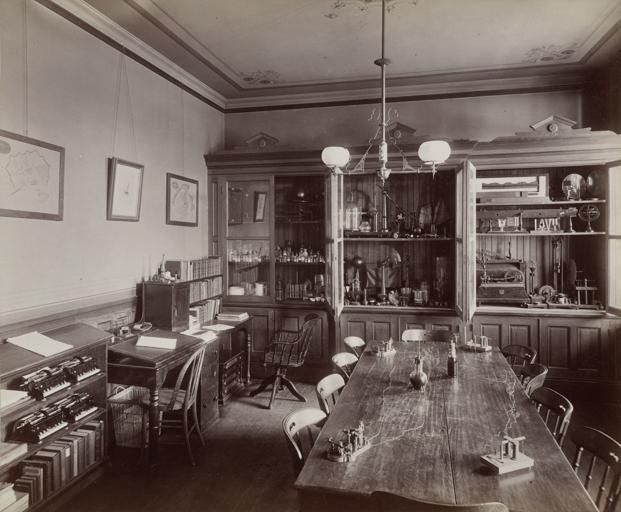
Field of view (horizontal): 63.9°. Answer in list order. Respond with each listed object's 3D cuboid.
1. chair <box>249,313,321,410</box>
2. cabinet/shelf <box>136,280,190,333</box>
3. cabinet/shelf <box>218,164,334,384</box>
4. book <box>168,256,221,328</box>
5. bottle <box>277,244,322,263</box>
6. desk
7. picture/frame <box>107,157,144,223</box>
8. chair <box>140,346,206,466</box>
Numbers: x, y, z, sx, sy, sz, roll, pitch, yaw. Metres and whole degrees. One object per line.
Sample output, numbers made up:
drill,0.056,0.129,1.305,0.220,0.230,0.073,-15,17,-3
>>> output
chair,-0.301,1.271,6.405,0.833,1.281,1.094,2,-2,-1
cabinet/shelf,-1.561,0.532,5.585,0.479,0.747,0.516,0,-1,7
cabinet/shelf,-0.488,0.162,7.288,1.754,3.162,0.865,0,20,-1
book,-1.427,0.442,6.041,0.247,0.832,0.821,0,0,11
bottle,-0.168,-0.026,7.110,0.687,0.230,0.255,0,0,10
desk,-1.563,1.113,5.249,0.842,1.581,1.501,0,-1,12
picture/frame,-1.962,-0.696,5.235,0.095,0.779,0.683,4,2,16
chair,-1.402,1.379,4.940,0.641,1.116,0.611,2,-1,-8
